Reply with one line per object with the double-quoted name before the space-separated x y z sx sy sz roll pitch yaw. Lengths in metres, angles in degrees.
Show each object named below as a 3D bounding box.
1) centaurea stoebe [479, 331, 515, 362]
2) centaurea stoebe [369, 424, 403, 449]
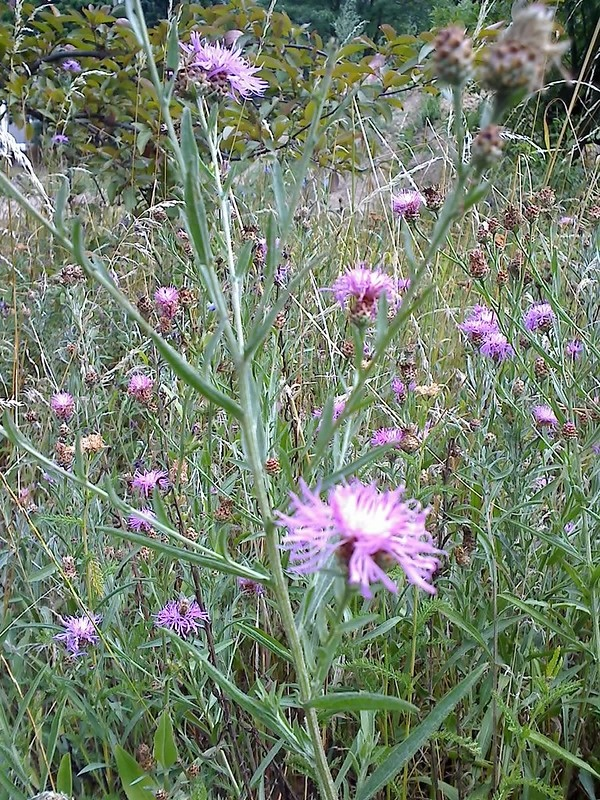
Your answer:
"centaurea stoebe" 0.427 -0.123 1.493 0.062 0.073 0.064 -11 23 -28
"centaurea stoebe" 0.187 0.071 1.417 0.064 0.043 0.066 -9 3 32
